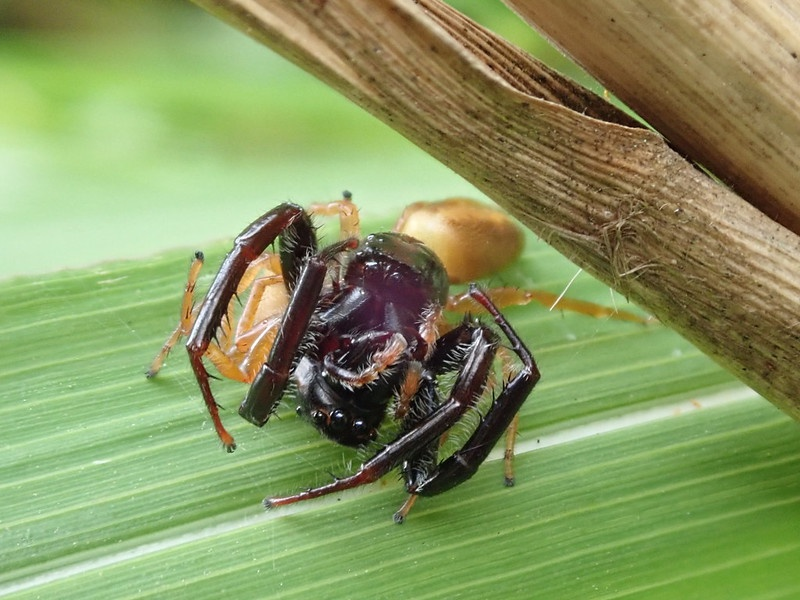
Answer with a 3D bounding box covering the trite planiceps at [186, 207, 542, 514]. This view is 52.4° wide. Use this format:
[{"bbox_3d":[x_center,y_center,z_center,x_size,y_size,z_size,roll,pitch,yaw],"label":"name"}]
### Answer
[{"bbox_3d":[-0.091,0.132,1.564,0.671,0.481,0.459,18,21,-23],"label":"trite planiceps"}]
